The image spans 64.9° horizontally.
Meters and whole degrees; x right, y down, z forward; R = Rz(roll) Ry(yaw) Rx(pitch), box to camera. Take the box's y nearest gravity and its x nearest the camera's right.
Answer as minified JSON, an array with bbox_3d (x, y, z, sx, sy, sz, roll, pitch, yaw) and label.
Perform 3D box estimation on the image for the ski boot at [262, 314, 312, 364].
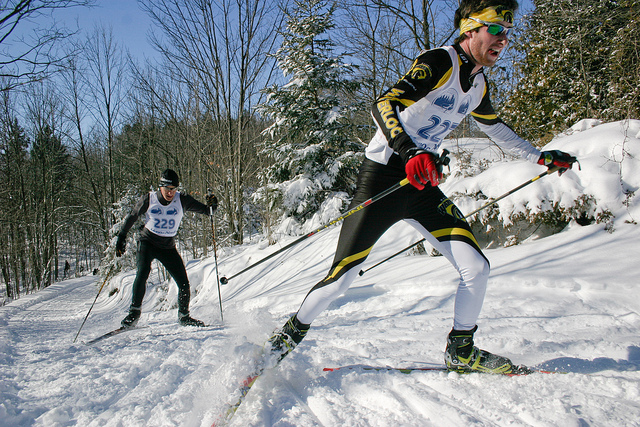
[{"bbox_3d":[-0.451,1.755,6.878,0.585,0.212,0.412,-42,-20,6],"label":"ski boot"}]

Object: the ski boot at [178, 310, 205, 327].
[{"bbox_3d":[-2.232,1.920,8.929,0.532,0.378,0.202,0,-9,-2],"label":"ski boot"}]

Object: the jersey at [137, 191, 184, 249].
[{"bbox_3d":[-2.807,0.115,9.158,0.790,1.151,0.631,5,-4,-23],"label":"jersey"}]

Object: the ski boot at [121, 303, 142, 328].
[{"bbox_3d":[-3.372,1.854,9.032,0.388,0.427,0.252,-8,0,-7],"label":"ski boot"}]
